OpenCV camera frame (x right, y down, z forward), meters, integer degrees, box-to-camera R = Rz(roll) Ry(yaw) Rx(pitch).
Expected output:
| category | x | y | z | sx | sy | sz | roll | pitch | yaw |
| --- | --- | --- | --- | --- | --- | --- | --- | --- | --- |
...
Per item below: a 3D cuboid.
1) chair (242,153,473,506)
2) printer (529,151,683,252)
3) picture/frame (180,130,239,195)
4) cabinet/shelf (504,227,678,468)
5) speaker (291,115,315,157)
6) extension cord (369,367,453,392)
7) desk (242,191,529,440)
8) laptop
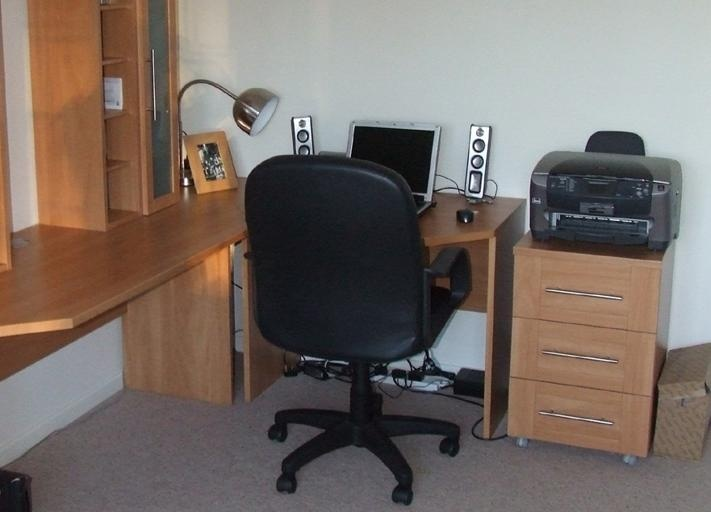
| category | x | y | z | sx | sy | sz | roll | pitch | yaw |
| --- | --- | --- | --- | --- | --- | --- | --- | --- | --- |
| chair | 0.021 | 0.284 | 2.496 | 0.873 | 1.389 | 0.516 | -1 | 15 | -10 |
| printer | 1.024 | -0.236 | 2.634 | 0.585 | 0.365 | 0.417 | 5 | 17 | 23 |
| picture/frame | -0.775 | -0.486 | 3.334 | 0.316 | 0.368 | 0.026 | -18 | -3 | -32 |
| cabinet/shelf | 1.082 | 0.360 | 2.992 | 0.744 | 0.989 | 0.766 | 0 | 18 | 8 |
| speaker | -0.275 | -0.645 | 3.360 | 0.123 | 0.196 | 0.190 | 0 | 16 | -6 |
| extension cord | 0.294 | 0.677 | 3.394 | 0.323 | 0.067 | 0.166 | 2 | 6 | 9 |
| desk | 0.161 | 0.046 | 3.346 | 1.576 | 1.337 | 1.081 | 6 | 14 | 22 |
| laptop | 0.225 | -0.537 | 3.338 | 0.542 | 0.457 | 0.462 | 7 | 20 | 21 |
